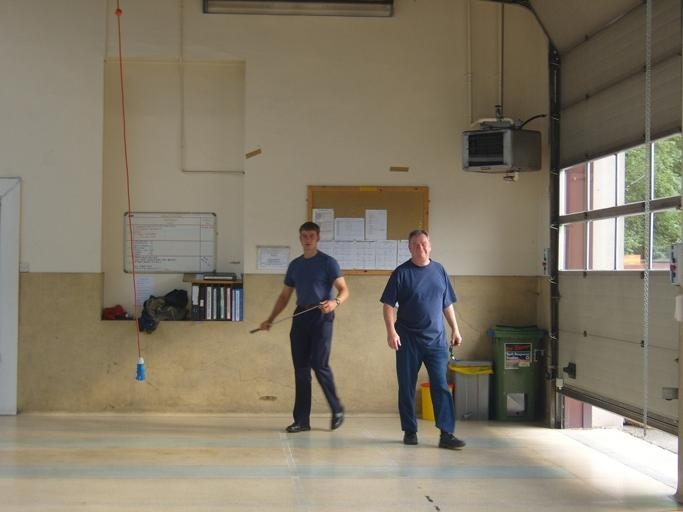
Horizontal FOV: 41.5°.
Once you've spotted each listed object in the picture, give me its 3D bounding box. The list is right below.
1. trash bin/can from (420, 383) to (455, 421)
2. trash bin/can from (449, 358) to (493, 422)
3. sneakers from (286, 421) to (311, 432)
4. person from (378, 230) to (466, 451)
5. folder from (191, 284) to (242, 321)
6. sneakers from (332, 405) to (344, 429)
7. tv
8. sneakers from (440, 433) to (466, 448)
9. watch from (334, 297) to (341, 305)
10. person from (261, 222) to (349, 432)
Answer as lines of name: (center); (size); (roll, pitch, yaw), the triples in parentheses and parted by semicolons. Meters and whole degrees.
trash bin/can: (0.956, 1.530, 9.852); (0.426, 0.457, 0.429); (-6, -7, 41)
trash bin/can: (1.376, 1.479, 10.059); (0.524, 0.812, 0.573); (-1, -3, 1)
sneakers: (-0.440, 1.734, 9.235); (0.207, 0.094, 0.099); (5, -8, -15)
person: (0.788, 0.807, 8.713); (0.788, 2.069, 0.370); (-1, -1, 0)
folder: (-1.373, 0.496, 9.663); (0.538, 0.398, 0.146); (-1, -2, -2)
sneakers: (-0.046, 1.663, 9.341); (0.099, 0.266, 0.092); (13, -3, -24)
tv: (1.694, -1.093, 9.480); (0.811, 0.429, 0.279); (-1, -1, 9)
sneakers: (1.066, 1.775, 8.744); (0.256, 0.192, 0.107); (-3, -5, 16)
watch: (-0.036, 0.456, 9.005); (0.044, 0.072, 0.061); (-23, 0, -37)
person: (-0.275, 0.726, 9.228); (0.772, 2.097, 0.473); (-1, -2, 34)
